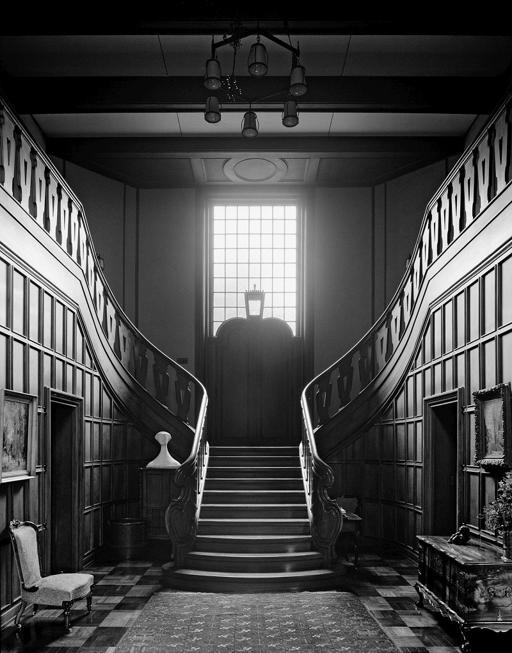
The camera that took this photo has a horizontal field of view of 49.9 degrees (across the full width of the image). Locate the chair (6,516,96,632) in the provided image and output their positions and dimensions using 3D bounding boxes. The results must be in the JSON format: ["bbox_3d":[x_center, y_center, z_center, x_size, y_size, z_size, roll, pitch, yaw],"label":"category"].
[{"bbox_3d":[-1.557,1.873,4.190,0.366,0.857,0.890,0,-9,3],"label":"chair"}]

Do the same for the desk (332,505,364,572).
[{"bbox_3d":[1.113,2.968,7.693,0.350,0.794,1.372,2,-22,-4],"label":"desk"}]

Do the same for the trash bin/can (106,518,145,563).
[{"bbox_3d":[-1.743,2.830,7.336,0.360,0.556,0.454,0,-8,-2],"label":"trash bin/can"}]
